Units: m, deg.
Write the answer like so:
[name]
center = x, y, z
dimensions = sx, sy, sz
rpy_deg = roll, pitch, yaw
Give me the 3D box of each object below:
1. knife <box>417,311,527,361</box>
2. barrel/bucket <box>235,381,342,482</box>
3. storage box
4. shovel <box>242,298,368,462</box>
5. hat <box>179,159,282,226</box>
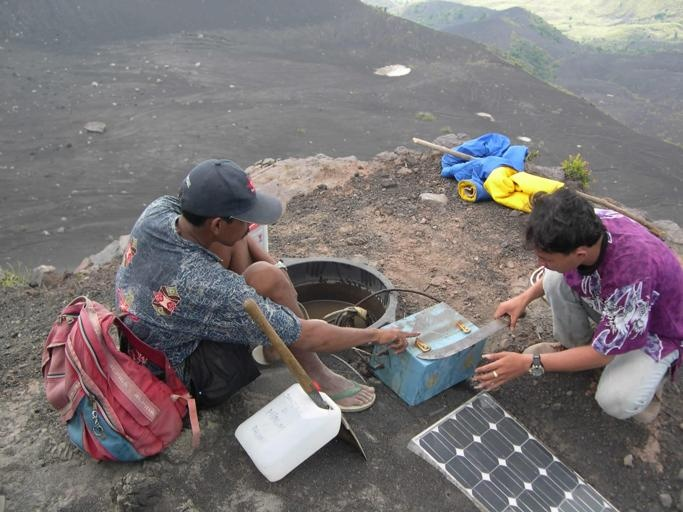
[knife]
center = 1.021, 0.645, 4.121
dimensions = 0.937, 0.078, 0.159
rpy_deg = -19, 32, -33
[barrel/bucket]
center = -0.360, 1.233, 3.582
dimensions = 0.985, 0.295, 0.722
rpy_deg = 5, 23, -14
[storage box]
center = 0.609, 0.769, 4.247
dimensions = 0.954, 0.594, 0.662
rpy_deg = -23, 47, -32
[shovel]
center = -0.087, 0.853, 3.509
dimensions = 0.168, 1.557, 0.433
rpy_deg = -25, 23, 29
[hat]
center = -0.728, -0.410, 3.453
dimensions = 0.618, 0.323, 0.315
rpy_deg = -2, 41, -6
